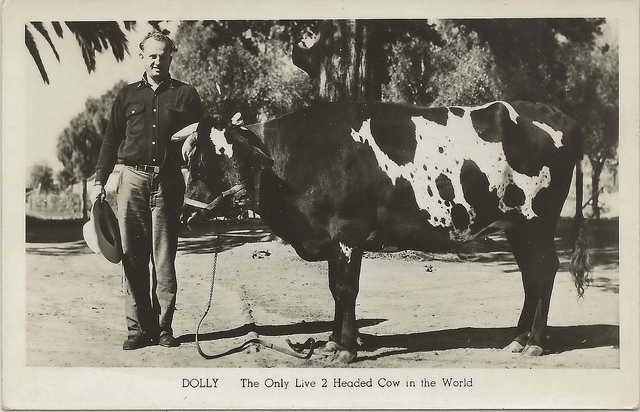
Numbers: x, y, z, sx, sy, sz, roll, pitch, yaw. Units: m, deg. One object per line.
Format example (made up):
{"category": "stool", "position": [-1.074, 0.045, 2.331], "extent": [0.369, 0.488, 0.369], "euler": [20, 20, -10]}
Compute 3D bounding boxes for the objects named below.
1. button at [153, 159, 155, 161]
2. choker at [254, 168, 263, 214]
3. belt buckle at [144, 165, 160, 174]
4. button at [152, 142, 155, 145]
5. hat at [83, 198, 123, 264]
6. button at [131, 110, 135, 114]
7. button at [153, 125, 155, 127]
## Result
{"category": "button", "position": [-1.912, -0.539, 8.167], "extent": [0.025, 0.024, 0.006], "euler": [-2, 5, 5]}
{"category": "choker", "position": [-0.717, -0.217, 8.288], "extent": [0.100, 0.451, 0.038], "euler": [-2, 3, -7]}
{"category": "belt buckle", "position": [-1.930, -0.430, 8.166], "extent": [0.194, 0.103, 0.119], "euler": [5, 4, -1]}
{"category": "button", "position": [-1.920, -0.738, 8.180], "extent": [0.030, 0.030, 0.007], "euler": [-3, 4, 7]}
{"category": "hat", "position": [-2.546, 0.290, 8.318], "extent": [0.415, 0.785, 0.267], "euler": [-3, 3, -20]}
{"category": "button", "position": [-2.163, -1.106, 8.210], "extent": [0.039, 0.038, 0.009], "euler": [1, -1, -7]}
{"category": "button", "position": [-1.921, -0.938, 8.199], "extent": [0.026, 0.026, 0.008], "euler": [-1, 2, 7]}
